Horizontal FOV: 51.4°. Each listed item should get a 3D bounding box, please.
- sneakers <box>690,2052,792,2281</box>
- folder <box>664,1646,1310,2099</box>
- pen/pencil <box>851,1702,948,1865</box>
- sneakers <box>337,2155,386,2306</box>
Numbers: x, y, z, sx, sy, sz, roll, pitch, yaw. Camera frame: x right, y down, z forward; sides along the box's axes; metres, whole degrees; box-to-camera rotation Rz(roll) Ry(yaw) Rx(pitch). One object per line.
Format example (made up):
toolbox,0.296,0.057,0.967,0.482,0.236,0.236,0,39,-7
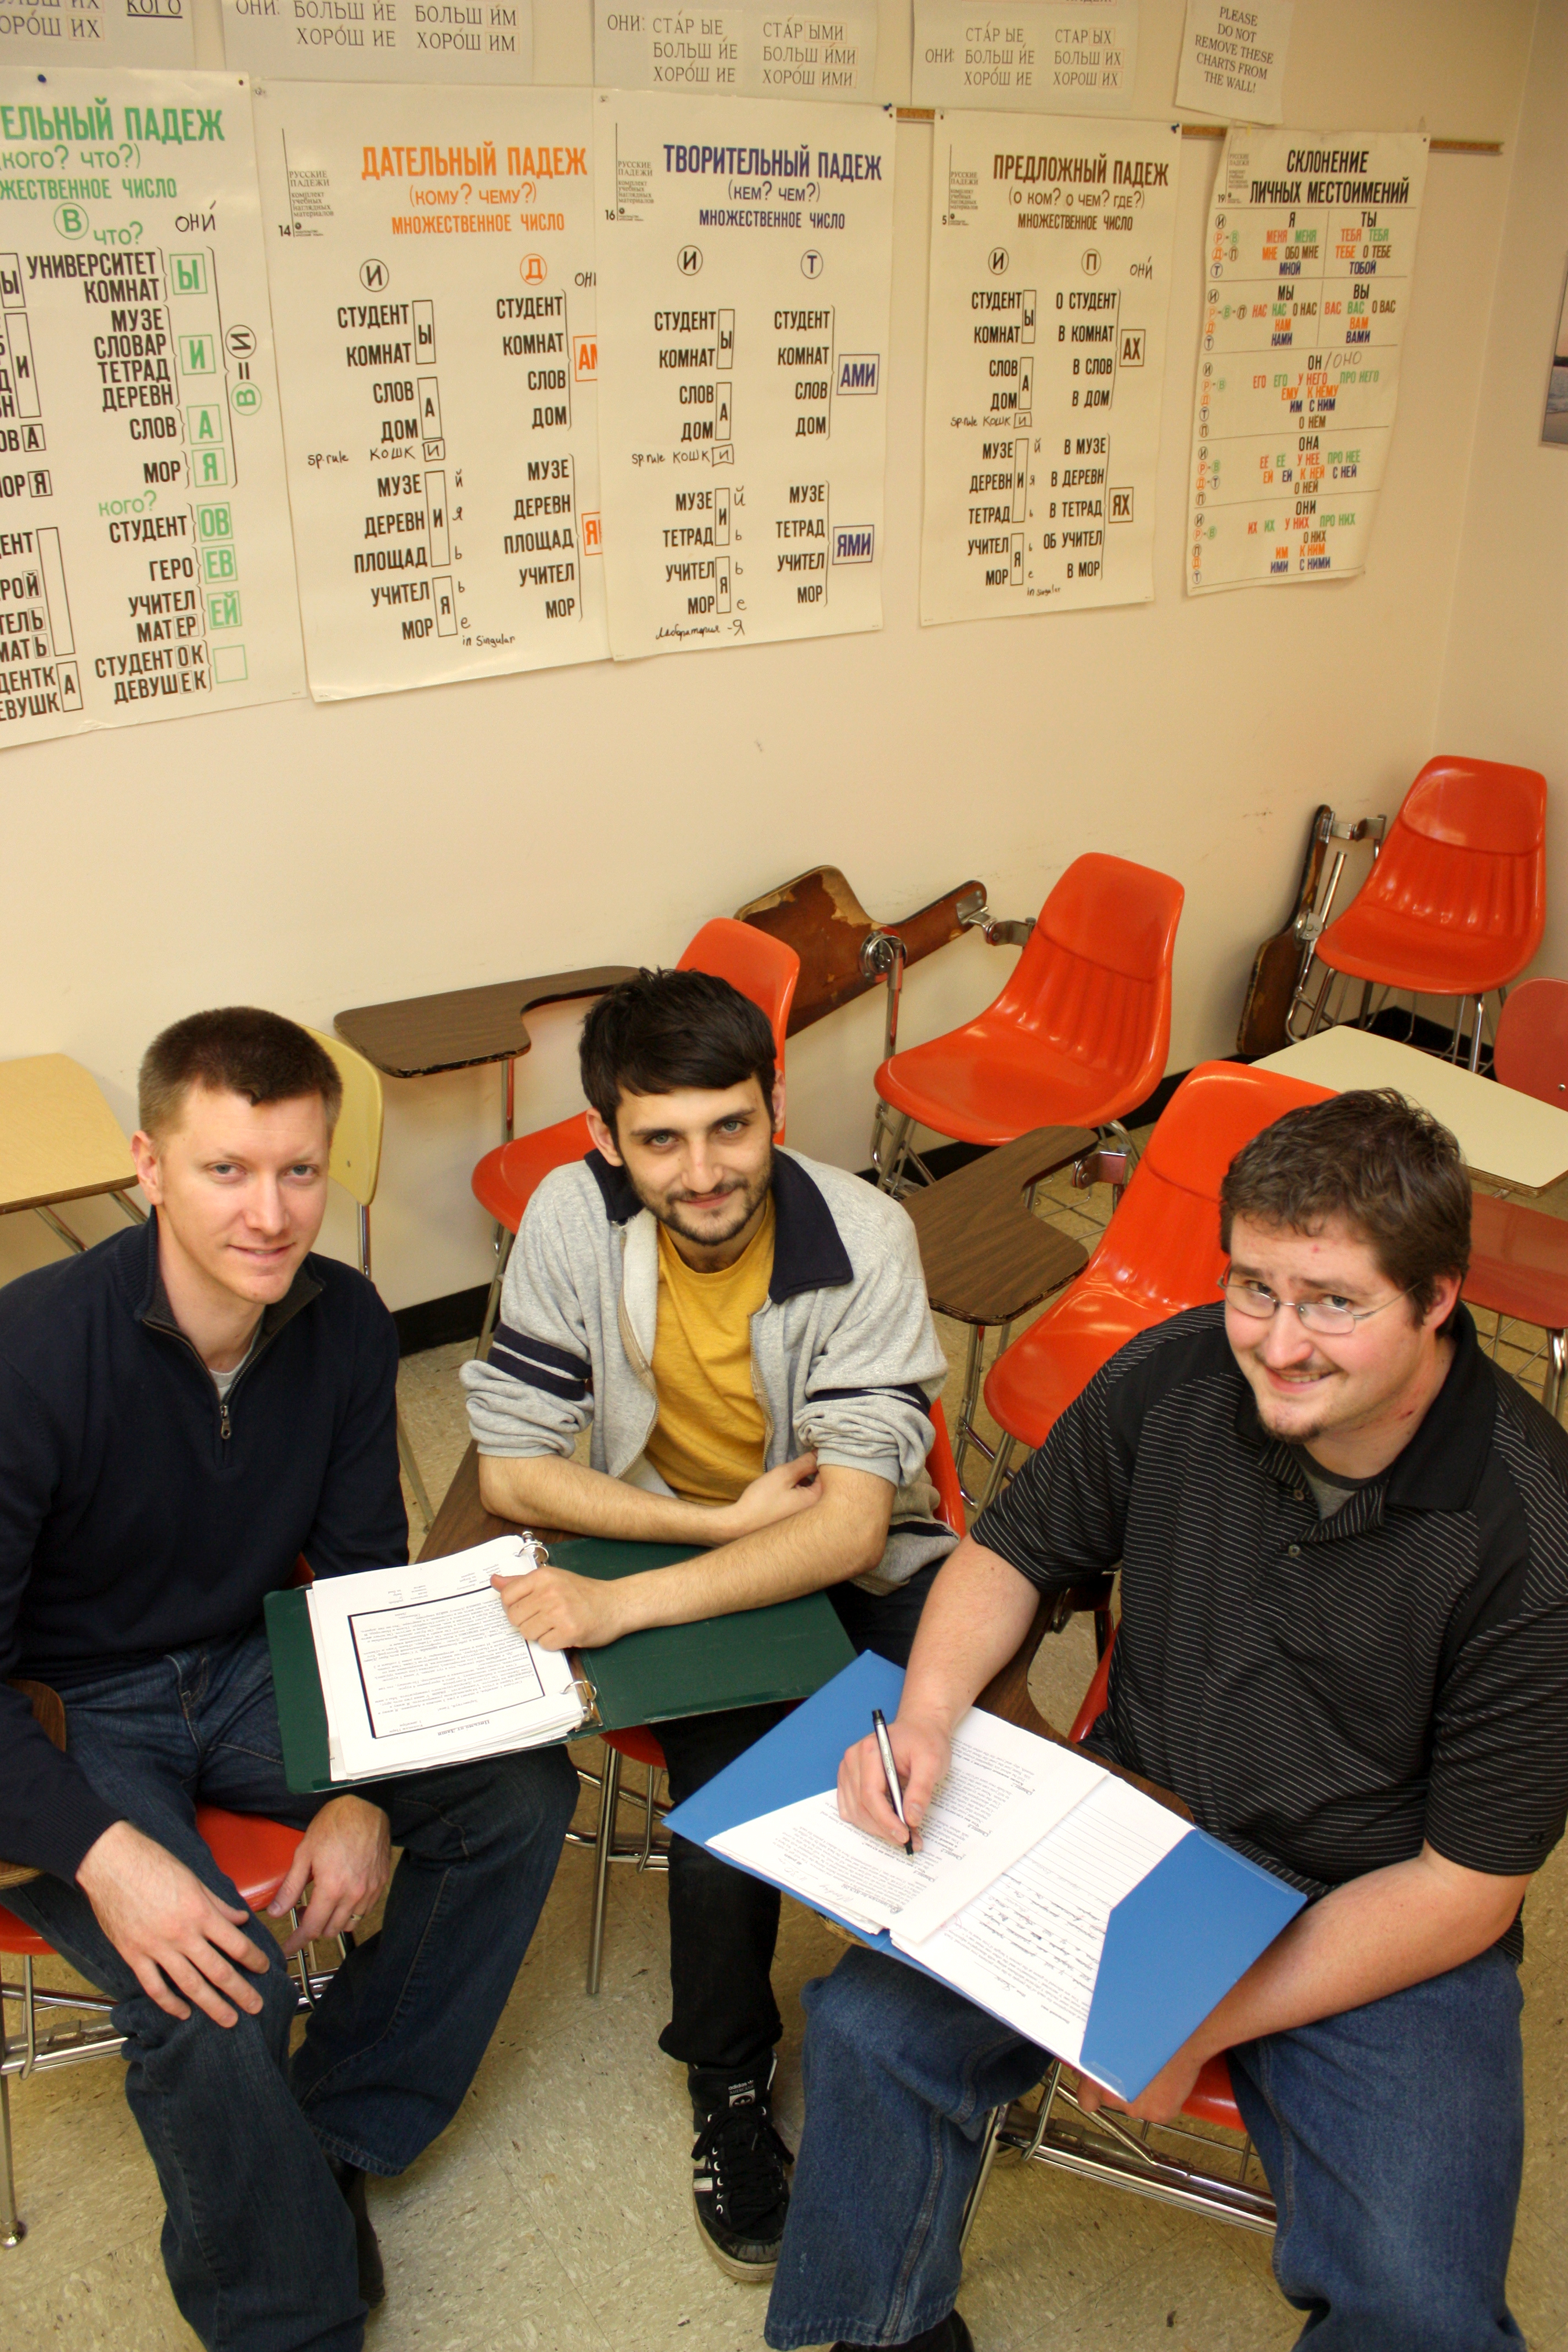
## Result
sneakers,-0.043,0.938,1.561,0.086,0.134,0.216,-3,-3,-5
folder,0.136,0.451,1.126,0.378,0.101,0.285,22,32,35
pen/pencil,0.084,0.413,1.154,0.015,0.015,0.137,-12,55,-1
sneakers,-0.378,0.972,1.519,0.044,0.088,0.122,7,47,-4
